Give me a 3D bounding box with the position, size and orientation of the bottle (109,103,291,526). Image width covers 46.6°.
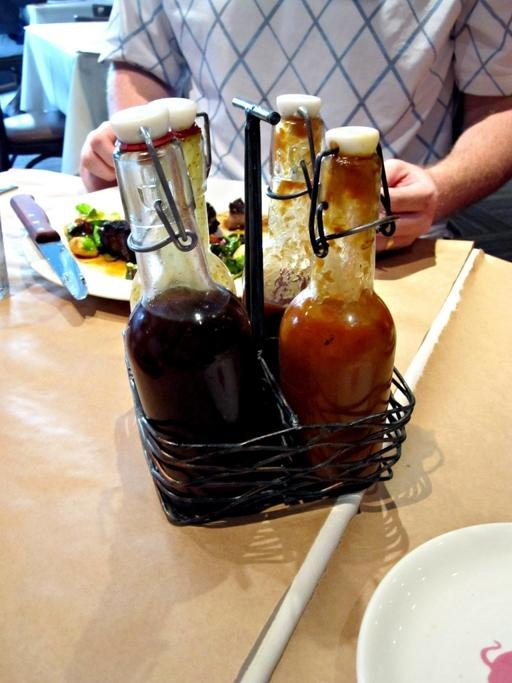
[{"bbox_3d":[-0.029,-0.003,0.372,0.108,0.275,0.141,-12,36,-12],"label":"bottle"}]

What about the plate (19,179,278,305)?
[{"bbox_3d":[-0.224,-0.145,0.933,0.300,0.047,0.287,31,47,29],"label":"plate"}]
